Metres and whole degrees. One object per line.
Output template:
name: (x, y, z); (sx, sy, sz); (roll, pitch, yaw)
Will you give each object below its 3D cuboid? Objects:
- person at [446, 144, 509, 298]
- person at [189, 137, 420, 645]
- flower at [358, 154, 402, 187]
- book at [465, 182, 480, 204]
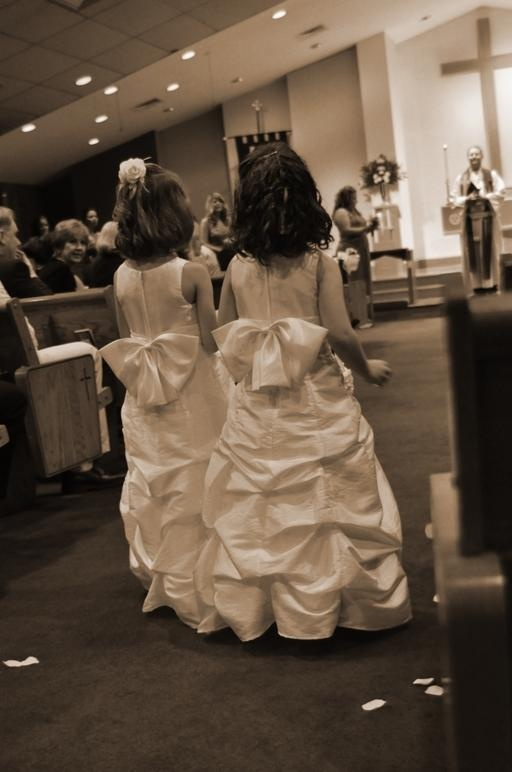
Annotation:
person: (2.302, -1.717, 7.257); (0.560, 1.520, 0.559); (-7, 7, 18)
person: (0.059, 0.014, 1.924); (0.624, 1.307, 0.482); (-8, 7, 7)
flower: (1.757, -3.064, 10.004); (0.512, 0.460, 0.475); (3, -6, -16)
book: (2.219, -1.986, 7.237); (0.159, 0.214, 0.075); (-8, -24, 24)
